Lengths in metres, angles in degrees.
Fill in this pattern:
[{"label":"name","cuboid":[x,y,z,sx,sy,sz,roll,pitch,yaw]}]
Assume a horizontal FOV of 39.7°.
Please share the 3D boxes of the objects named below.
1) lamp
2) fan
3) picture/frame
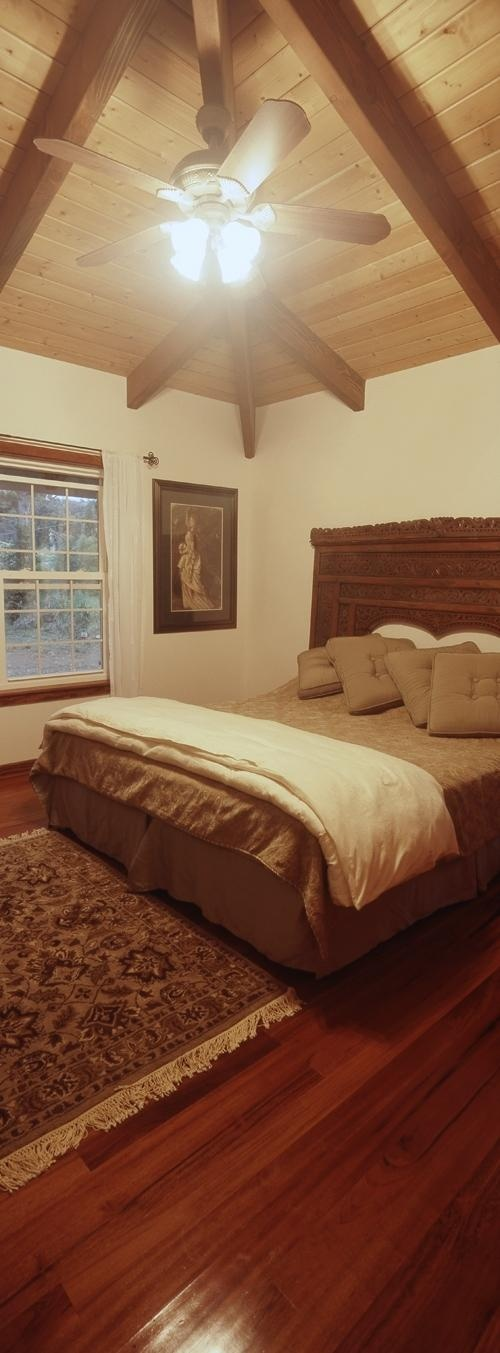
[{"label":"lamp","cuboid":[-0.102,-1.373,2.206,0.182,0.065,0.226,-1,1,14]},{"label":"fan","cuboid":[-0.077,-1.394,2.027,0.934,0.191,0.818,4,11,18]},{"label":"picture/frame","cuboid":[-0.436,-0.917,5.119,0.068,1.497,0.837,3,6,36]}]
